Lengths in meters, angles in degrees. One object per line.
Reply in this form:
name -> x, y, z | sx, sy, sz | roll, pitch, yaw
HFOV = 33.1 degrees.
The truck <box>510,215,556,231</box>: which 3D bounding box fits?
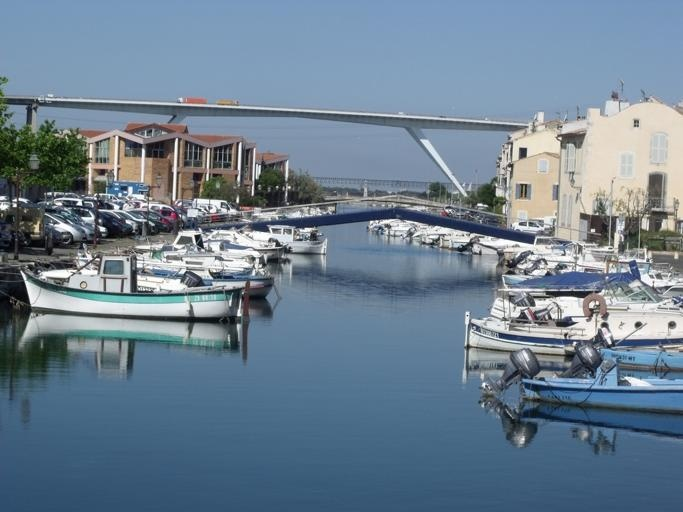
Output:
truck -> 13.109, -2.072, 78.418 | 1.601, 1.101, 2.458 | -1, 11, -20
